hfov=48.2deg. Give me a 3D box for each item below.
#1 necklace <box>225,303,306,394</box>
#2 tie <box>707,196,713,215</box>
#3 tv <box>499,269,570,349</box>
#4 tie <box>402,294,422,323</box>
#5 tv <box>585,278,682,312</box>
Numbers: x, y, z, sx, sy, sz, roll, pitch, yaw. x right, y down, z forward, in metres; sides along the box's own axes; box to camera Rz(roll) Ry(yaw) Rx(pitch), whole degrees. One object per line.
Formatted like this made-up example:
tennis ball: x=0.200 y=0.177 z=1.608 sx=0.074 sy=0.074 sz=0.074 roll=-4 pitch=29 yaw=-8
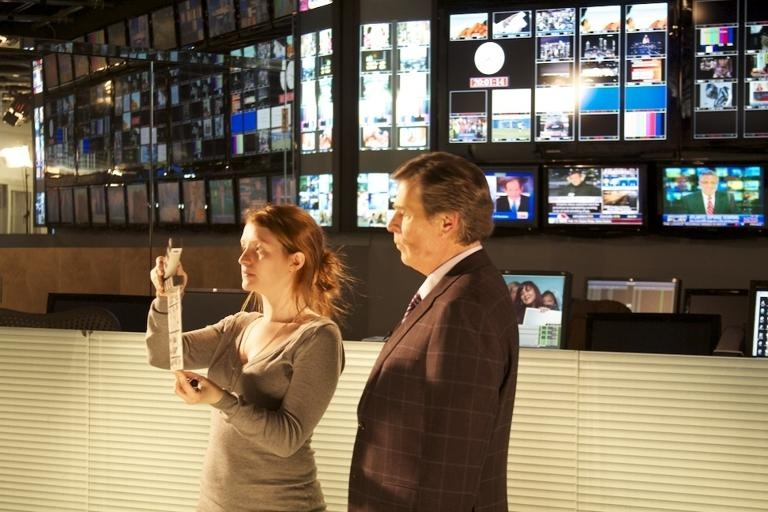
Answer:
necklace: x=-0.511 y=0.425 z=3.791 sx=0.309 sy=0.293 sz=0.166 roll=10 pitch=-18 yaw=43
tie: x=2.680 y=-0.398 z=7.046 sx=0.050 sy=0.139 sz=0.042 roll=-1 pitch=5 yaw=11
tv: x=1.041 y=0.386 z=5.534 sx=0.596 sy=0.580 sz=0.440 roll=-1 pitch=-10 yaw=14
tie: x=0.114 y=0.215 z=3.726 sx=0.050 sy=0.137 sz=0.104 roll=12 pitch=-9 yaw=7
tv: x=1.782 y=0.324 z=6.224 sx=0.648 sy=0.376 sz=0.078 roll=1 pitch=26 yaw=9
